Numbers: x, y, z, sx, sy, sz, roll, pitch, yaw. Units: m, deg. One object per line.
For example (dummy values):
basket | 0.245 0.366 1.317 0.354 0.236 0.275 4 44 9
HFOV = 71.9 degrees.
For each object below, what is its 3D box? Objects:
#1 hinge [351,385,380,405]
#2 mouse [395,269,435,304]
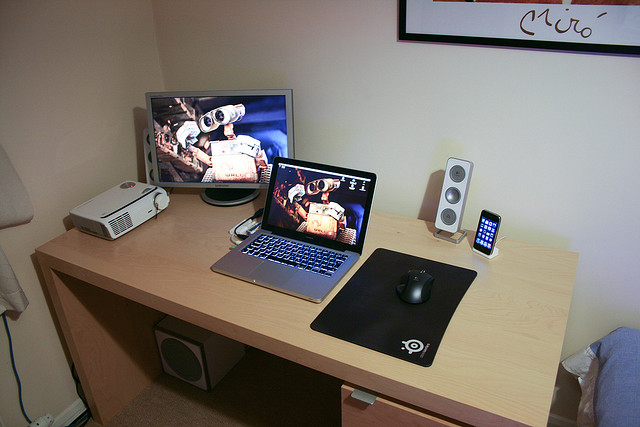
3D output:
hinge | 0.147 0.604 1.465 0.086 0.020 0.062 15 61 22
mouse | 0.364 0.258 1.659 0.147 0.061 0.191 13 25 20
